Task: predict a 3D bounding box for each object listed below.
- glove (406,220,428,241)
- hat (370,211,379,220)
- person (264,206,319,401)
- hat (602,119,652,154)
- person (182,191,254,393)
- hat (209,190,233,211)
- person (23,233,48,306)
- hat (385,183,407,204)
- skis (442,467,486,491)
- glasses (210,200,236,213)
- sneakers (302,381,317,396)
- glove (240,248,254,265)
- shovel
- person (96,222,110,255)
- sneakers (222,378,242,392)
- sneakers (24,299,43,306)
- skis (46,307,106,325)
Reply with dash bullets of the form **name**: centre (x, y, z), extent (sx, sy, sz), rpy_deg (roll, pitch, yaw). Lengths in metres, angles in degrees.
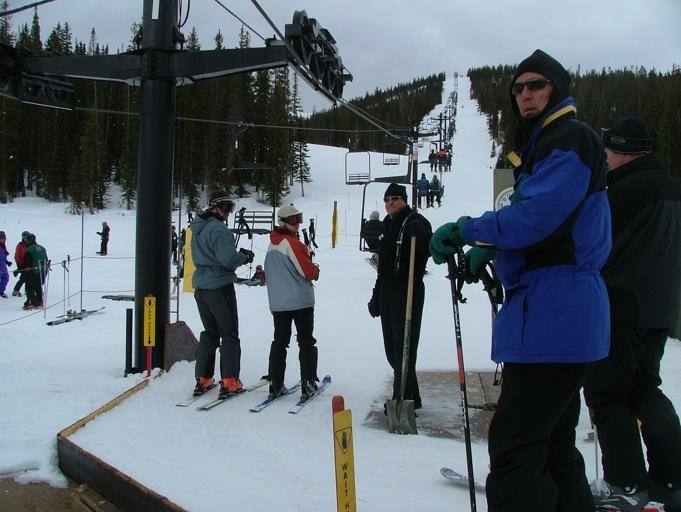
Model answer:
- **glove**: centre (0.756, -0.246, 7.188), extent (0.144, 0.089, 0.208), rpy_deg (6, -9, 5)
- **hat**: centre (0.677, -0.817, 15.012), extent (0.184, 0.173, 0.310), rpy_deg (0, 2, 7)
- **person**: centre (-0.504, 0.470, 7.711), extent (0.596, 2.008, 0.402), rpy_deg (2, 1, -4)
- **hat**: centre (2.153, -0.902, 5.667), extent (0.237, 0.256, 0.356), rpy_deg (3, 19, -13)
- **person**: centre (-1.318, 0.389, 7.754), extent (0.572, 2.114, 0.386), rpy_deg (2, 2, 21)
- **hat**: centre (-1.267, -0.591, 7.839), extent (0.221, 0.228, 0.185), rpy_deg (-3, 9, -15)
- **person**: centre (-5.991, 0.288, 14.537), extent (0.475, 1.405, 1.118), rpy_deg (1, 2, -22)
- **hat**: centre (0.546, -0.600, 7.371), extent (0.160, 0.158, 0.189), rpy_deg (5, -15, -2)
- **skis**: centre (0.917, 1.711, 5.666), extent (0.132, 0.100, 0.510), rpy_deg (0, -1, -27)
- **glasses**: centre (-1.251, -0.543, 7.807), extent (0.168, 0.103, 0.159), rpy_deg (4, 5, -7)
- **sneakers**: centre (-0.324, 1.375, 7.665), extent (0.107, 0.154, 0.155), rpy_deg (0, -13, -3)
- **glove**: centre (-1.001, 0.020, 7.913), extent (0.127, 0.074, 0.170), rpy_deg (5, -38, 14)
- **shovel**: centre (0.596, 0.710, 6.934), extent (0.287, 1.797, 0.555), rpy_deg (2, 1, 5)
- **person**: centre (-7.990, -0.579, 24.908), extent (0.357, 1.074, 1.975), rpy_deg (1, 2, -19)
- **sneakers**: centre (-1.127, 1.339, 7.688), extent (0.077, 0.114, 0.247), rpy_deg (2, 3, 18)
- **sneakers**: centre (-5.884, 0.911, 14.242), extent (0.156, 0.132, 0.401), rpy_deg (3, 2, 26)
- **skis**: centre (-4.566, 1.050, 12.746), extent (0.230, 0.183, 0.835), rpy_deg (6, 9, 8)
